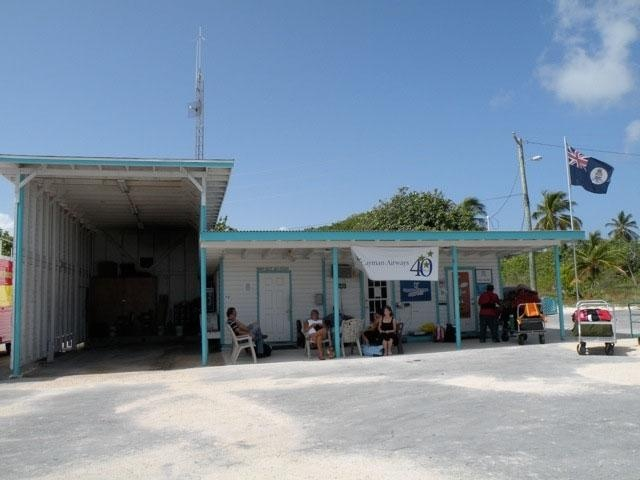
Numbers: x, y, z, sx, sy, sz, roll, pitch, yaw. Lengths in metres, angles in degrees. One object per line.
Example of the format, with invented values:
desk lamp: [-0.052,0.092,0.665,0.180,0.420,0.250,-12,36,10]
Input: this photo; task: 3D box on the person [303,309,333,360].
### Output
person: [-0.067,2.554,14.361,0.723,1.293,1.400,-2,-11,-2]

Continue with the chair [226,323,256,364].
chair: [-1.974,2.674,13.799,0.689,0.905,0.717,-2,-3,-26]

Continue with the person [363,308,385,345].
person: [1.467,2.478,14.743,0.747,1.015,0.682,-1,-10,-3]

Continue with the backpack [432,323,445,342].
backpack: [3.793,2.948,16.954,0.399,0.799,0.463,1,-11,1]

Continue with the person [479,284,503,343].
person: [5.144,2.265,16.288,0.651,1.689,2.191,-5,-11,16]

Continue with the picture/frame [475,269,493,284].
picture/frame: [5.573,1.245,18.303,0.437,0.424,0.068,1,-7,-10]

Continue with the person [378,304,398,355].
person: [1.810,2.411,14.248,0.450,1.319,0.651,-4,-10,11]
